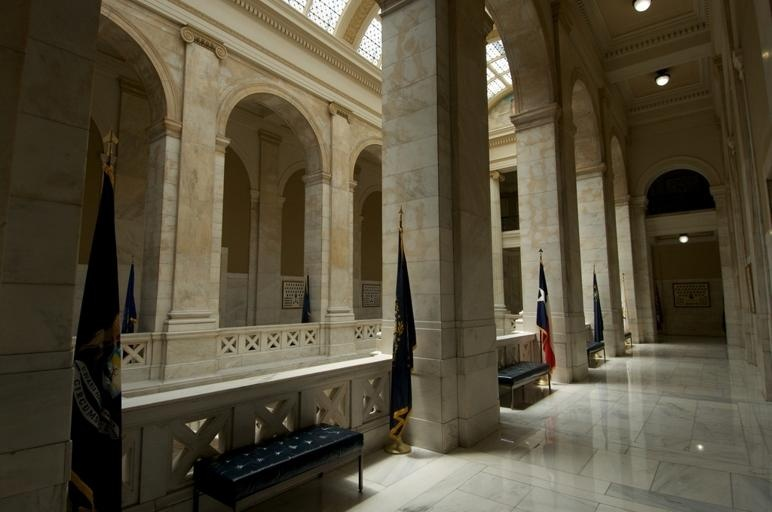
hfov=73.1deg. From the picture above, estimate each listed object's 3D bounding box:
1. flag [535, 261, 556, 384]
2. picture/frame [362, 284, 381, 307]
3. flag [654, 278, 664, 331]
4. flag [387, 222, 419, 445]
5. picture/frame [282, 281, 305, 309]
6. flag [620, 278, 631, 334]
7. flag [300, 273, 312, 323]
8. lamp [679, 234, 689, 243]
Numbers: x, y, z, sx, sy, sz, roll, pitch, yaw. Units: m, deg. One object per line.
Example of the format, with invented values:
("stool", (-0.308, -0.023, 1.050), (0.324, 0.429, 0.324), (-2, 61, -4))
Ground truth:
("flag", (3.279, 1.412, 10.684), (0.343, 2.562, 1.334), (1, 2, 17))
("picture/frame", (-0.684, 1.745, 22.866), (0.076, 0.838, 0.980), (-11, -12, 39))
("flag", (11.820, 2.226, 22.506), (0.323, 2.029, 0.788), (1, 2, 28))
("flag", (0.268, 1.204, 7.696), (0.386, 3.327, 0.637), (0, 2, 3))
("picture/frame", (-3.398, 1.451, 18.951), (0.072, 0.763, 1.048), (-7, 0, 22))
("flag", (7.956, 1.571, 17.320), (0.293, 1.896, 0.769), (2, 2, 39))
("flag", (-2.224, 1.201, 14.666), (0.207, 1.334, 0.620), (0, 2, -9))
("lamp", (11.749, -0.703, 20.571), (0.226, 0.165, 0.227), (-22, 38, -26))
